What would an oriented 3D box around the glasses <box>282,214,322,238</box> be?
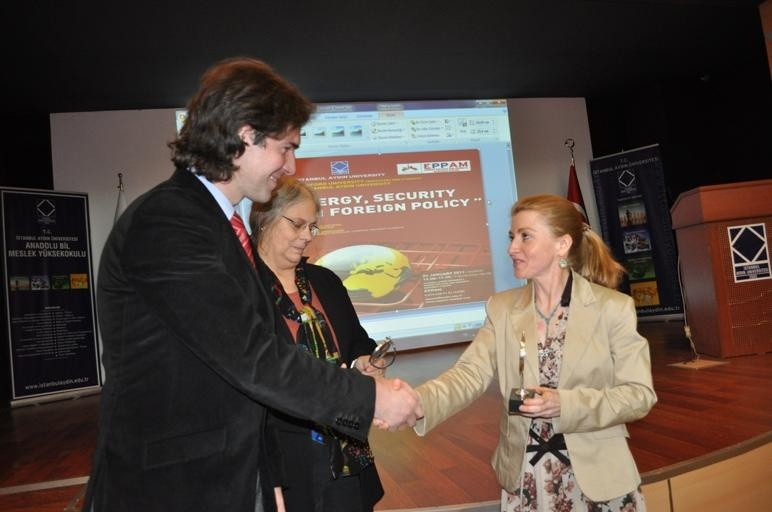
[{"bbox_3d":[-0.417,-0.162,2.451,0.118,0.036,0.115,22,4,26],"label":"glasses"}]
